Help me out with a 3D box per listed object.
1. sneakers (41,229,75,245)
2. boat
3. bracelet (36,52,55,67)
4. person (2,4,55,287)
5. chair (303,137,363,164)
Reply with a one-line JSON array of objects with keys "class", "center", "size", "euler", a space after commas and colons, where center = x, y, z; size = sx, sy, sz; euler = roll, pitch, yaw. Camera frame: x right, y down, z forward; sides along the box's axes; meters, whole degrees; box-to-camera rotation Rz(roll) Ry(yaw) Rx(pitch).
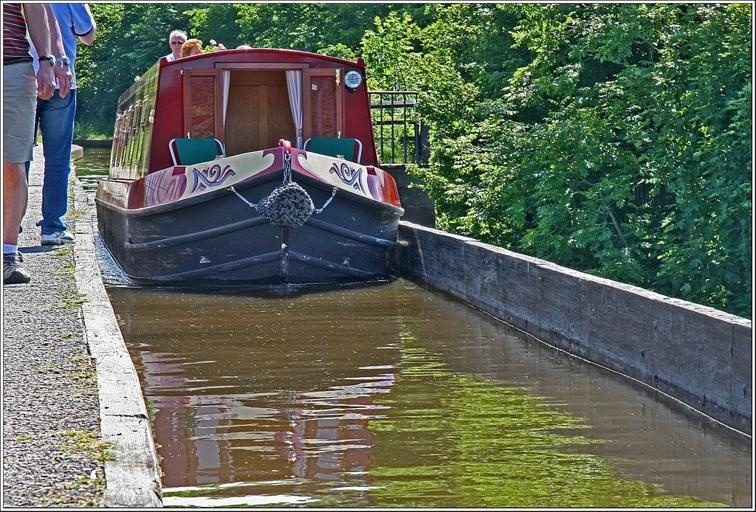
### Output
[{"class": "sneakers", "center": [-3.929, -0.229, 17.583], "size": [0.443, 0.178, 0.159], "euler": [-8, 15, -44]}, {"class": "boat", "center": [-1.696, -1.218, 19.365], "size": [3.980, 3.153, 2.923], "euler": [-1, 10, -3]}, {"class": "bracelet", "center": [-3.262, -1.933, 14.039], "size": [0.142, 0.066, 0.124], "euler": [-4, -21, 5]}, {"class": "person", "center": [-3.496, -1.088, 14.207], "size": [0.571, 2.840, 0.580], "euler": [-3, 11, -12]}, {"class": "chair", "center": [-0.636, -1.516, 19.951], "size": [0.688, 0.558, 0.464], "euler": [4, -4, 6]}]
